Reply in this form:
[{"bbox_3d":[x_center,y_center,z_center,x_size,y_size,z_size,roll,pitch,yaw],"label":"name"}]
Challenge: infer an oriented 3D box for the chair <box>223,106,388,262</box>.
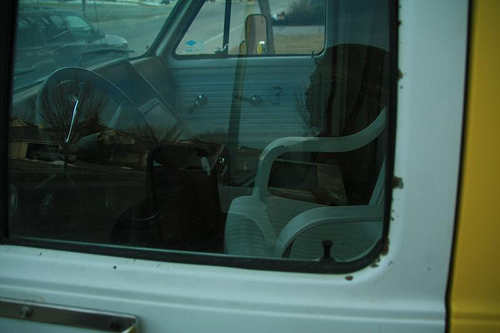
[{"bbox_3d":[0.232,0.020,1.647,0.540,0.619,0.461,5,15,9],"label":"chair"}]
